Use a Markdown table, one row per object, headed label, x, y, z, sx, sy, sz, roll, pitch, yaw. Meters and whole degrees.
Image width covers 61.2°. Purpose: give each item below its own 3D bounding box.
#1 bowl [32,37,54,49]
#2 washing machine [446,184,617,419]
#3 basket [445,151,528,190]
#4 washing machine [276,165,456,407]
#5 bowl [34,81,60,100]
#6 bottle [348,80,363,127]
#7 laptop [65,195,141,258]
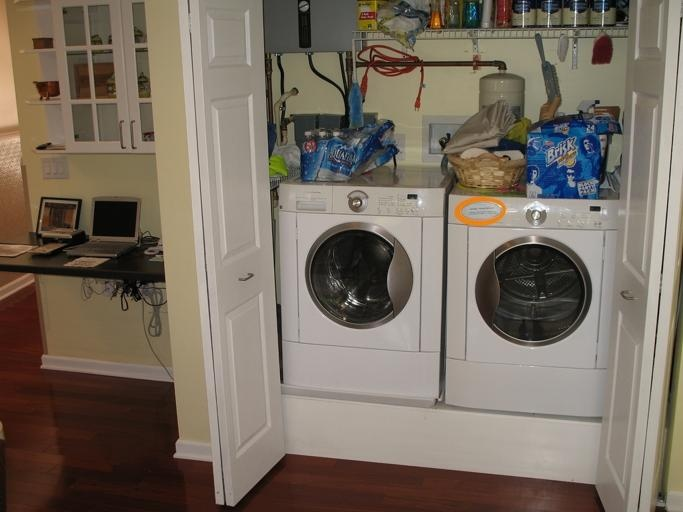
| label | x | y | z | sx | sy | sz | roll | pitch | yaw |
| --- | --- | --- | --- | --- | --- | --- | --- | --- | --- |
| bowl | -1.877 | -1.332 | 3.611 | 0.098 | 0.046 | 0.107 | 1 | 9 | 0 |
| washing machine | 0.928 | 0.179 | 3.369 | 0.981 | 1.508 | 1.046 | 1 | 10 | 9 |
| basket | 0.774 | -0.448 | 3.029 | 0.257 | 0.126 | 0.242 | 0 | 14 | 6 |
| washing machine | 0.012 | 0.092 | 3.597 | 1.000 | 1.438 | 1.162 | 1 | 10 | 11 |
| bowl | -1.883 | -1.043 | 3.692 | 0.131 | 0.113 | 0.150 | 7 | 12 | 10 |
| bottle | 0.085 | -0.964 | 3.662 | 0.097 | 0.278 | 0.221 | -1 | 14 | 1 |
| laptop | -1.495 | -0.191 | 3.734 | 0.363 | 0.368 | 0.420 | 3 | 11 | 13 |
